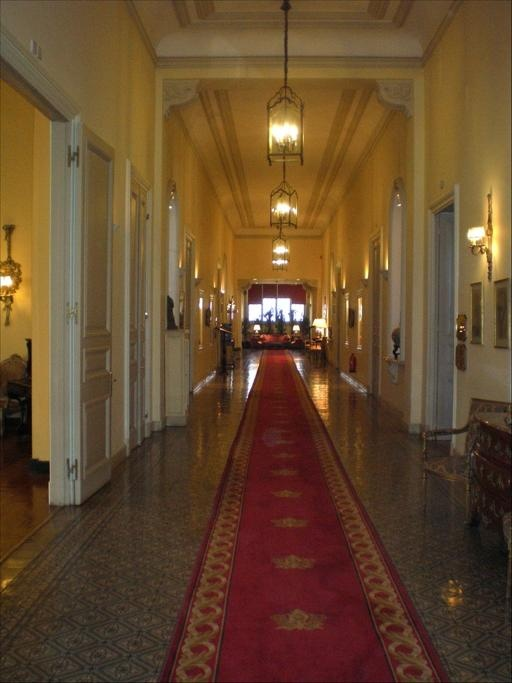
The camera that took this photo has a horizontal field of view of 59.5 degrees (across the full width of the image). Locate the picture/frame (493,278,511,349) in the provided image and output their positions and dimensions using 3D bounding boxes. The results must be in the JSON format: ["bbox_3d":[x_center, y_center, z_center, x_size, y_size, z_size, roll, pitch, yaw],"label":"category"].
[{"bbox_3d":[2.354,-0.260,4.294,0.068,0.674,0.351,-1,-3,14],"label":"picture/frame"}]

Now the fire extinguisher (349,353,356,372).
[{"bbox_3d":[2.969,0.671,13.728,0.178,0.589,0.697,-1,-4,9],"label":"fire extinguisher"}]
